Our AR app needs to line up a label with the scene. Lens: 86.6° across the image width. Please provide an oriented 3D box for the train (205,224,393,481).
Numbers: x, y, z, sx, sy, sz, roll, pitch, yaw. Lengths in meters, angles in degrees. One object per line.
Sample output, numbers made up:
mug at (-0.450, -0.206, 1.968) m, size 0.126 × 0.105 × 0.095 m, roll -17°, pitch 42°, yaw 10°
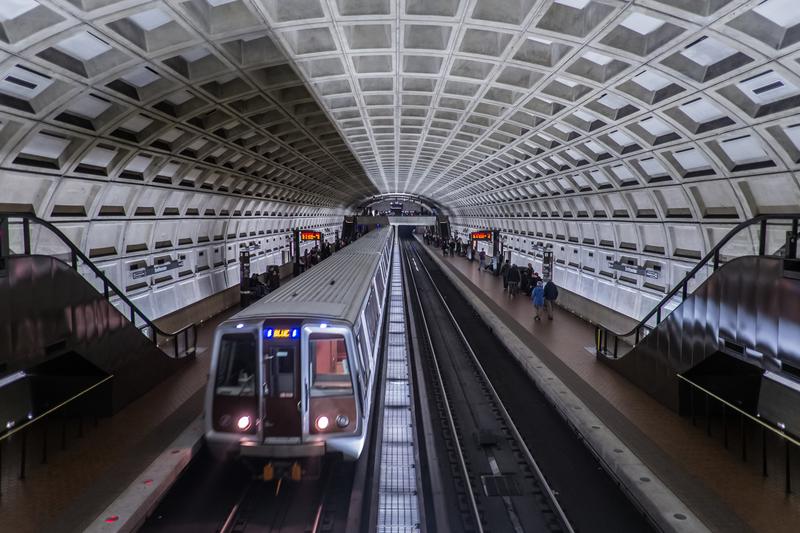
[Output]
train at (-2.118, 2.545, 10.691) m, size 3.328 × 4.363 × 3.916 m, roll 0°, pitch -2°, yaw 17°
